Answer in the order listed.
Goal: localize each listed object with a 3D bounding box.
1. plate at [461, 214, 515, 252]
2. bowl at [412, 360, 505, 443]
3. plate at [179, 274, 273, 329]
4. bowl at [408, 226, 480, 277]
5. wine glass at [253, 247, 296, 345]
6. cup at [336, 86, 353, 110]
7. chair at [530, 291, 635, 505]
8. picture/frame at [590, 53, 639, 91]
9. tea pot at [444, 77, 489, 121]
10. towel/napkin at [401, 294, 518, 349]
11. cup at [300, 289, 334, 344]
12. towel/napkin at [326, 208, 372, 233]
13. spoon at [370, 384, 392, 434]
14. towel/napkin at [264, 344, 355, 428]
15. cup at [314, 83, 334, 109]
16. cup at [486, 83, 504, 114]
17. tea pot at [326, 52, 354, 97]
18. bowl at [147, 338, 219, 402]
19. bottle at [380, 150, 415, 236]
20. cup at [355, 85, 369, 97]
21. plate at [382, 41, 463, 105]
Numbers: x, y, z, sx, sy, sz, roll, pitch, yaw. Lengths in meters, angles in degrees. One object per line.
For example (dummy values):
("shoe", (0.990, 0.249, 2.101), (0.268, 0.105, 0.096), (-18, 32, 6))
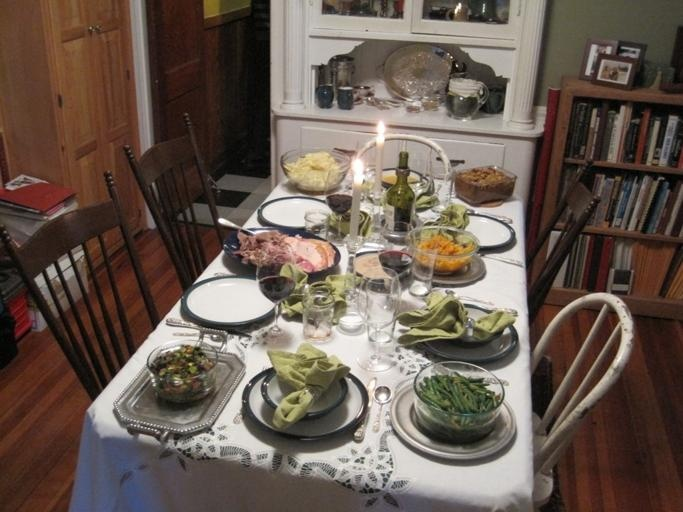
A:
("plate", (0.589, -0.096, 1.907), (0.165, 0.023, 0.165), (32, 52, 33))
("bowl", (0.234, 0.319, 1.094), (0.167, 0.080, 0.171), (-24, 23, 11))
("plate", (-0.347, 0.131, 1.470), (0.175, 0.019, 0.180), (0, 39, -11))
("bowl", (0.372, 0.012, 1.675), (0.210, 0.100, 0.213), (3, 7, 0))
("wine glass", (-0.178, 0.103, 1.323), (0.103, 0.249, 0.102), (-2, 22, -7))
("cup", (0.032, -1.008, 3.111), (0.087, 0.136, 0.145), (3, 44, 5))
("chair", (0.920, 0.560, 1.833), (0.296, 0.713, 0.394), (8, 61, 10))
("picture/frame", (1.526, -1.023, 2.701), (0.200, 0.174, 0.015), (24, 19, 17))
("tea pot", (0.747, -0.962, 2.976), (0.276, 0.253, 0.204), (5, 39, 11))
("towel/napkin", (0.299, 0.178, 1.319), (0.191, 0.068, 0.187), (11, 29, 24))
("cup", (-0.057, 0.160, 1.342), (0.077, 0.115, 0.071), (4, 23, -2))
("towel/napkin", (0.024, -0.131, 1.846), (0.121, 0.042, 0.097), (4, 39, 8))
("spoon", (0.088, 0.346, 1.099), (0.037, 0.023, 0.167), (8, 19, 9))
("towel/napkin", (-0.093, 0.279, 1.084), (0.192, 0.080, 0.229), (14, 27, 5))
("cup", (-0.095, -1.021, 3.142), (0.110, 0.158, 0.162), (5, 48, 4))
("cup", (0.992, -1.006, 3.117), (0.131, 0.166, 0.059), (3, 13, 3))
("tea pot", (-0.008, -1.252, 3.274), (0.133, 0.203, 0.136), (-4, 39, 3))
("bowl", (-0.374, 0.269, 1.153), (0.149, 0.079, 0.165), (3, 21, -15))
("bottle", (0.222, -0.236, 1.804), (0.102, 0.306, 0.103), (0, 31, 0))
("cup", (0.140, -1.130, 3.319), (0.141, 0.060, 0.105), (-7, 33, -15))
("plate", (0.529, -1.221, 3.279), (0.487, 0.508, 0.068), (-9, 63, 20))
